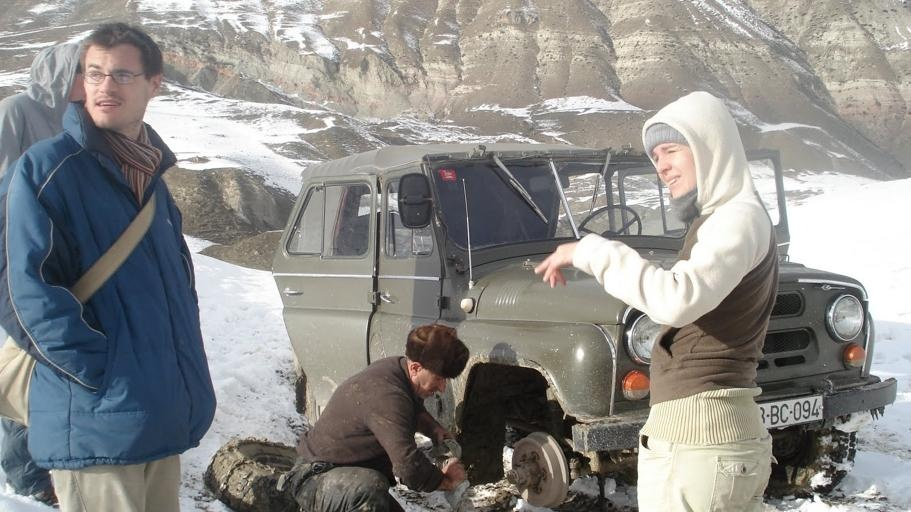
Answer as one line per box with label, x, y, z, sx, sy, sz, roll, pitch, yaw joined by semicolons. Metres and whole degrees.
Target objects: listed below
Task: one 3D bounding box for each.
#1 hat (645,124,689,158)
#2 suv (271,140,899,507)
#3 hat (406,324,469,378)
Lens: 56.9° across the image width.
hat;1.430;-0.789;5.708;0.241;0.150;0.181;-3;-10;-3
suv;0.736;0.355;8.546;3.620;2.442;5.000;-2;1;-38
hat;-0.138;0.780;7.197;0.534;0.378;0.386;8;10;34
